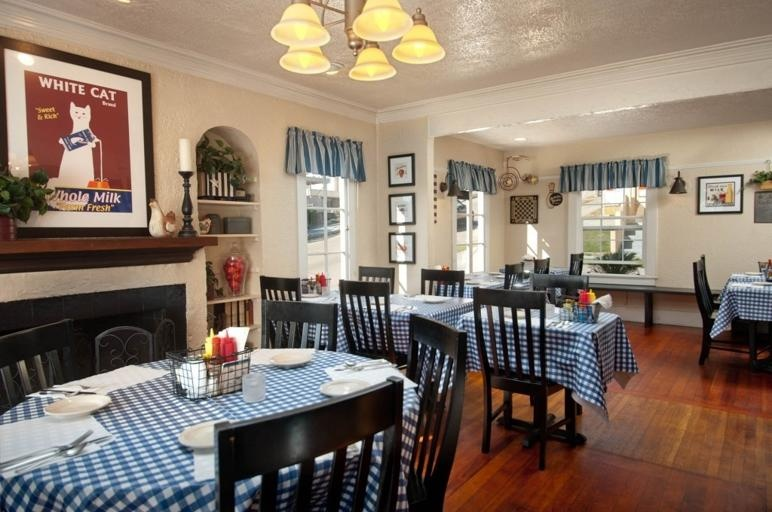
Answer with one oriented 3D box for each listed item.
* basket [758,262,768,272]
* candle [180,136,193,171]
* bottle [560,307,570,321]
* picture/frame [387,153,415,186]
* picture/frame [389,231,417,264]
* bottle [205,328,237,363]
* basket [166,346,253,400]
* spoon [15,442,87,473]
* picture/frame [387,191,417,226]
[{"bbox_3d":[4.618,0.129,6.318,0.117,0.135,0.103,2,7,25],"label":"basket"},{"bbox_3d":[-1.833,-0.906,4.692,0.105,0.296,0.127,-6,14,-20],"label":"candle"},{"bbox_3d":[1.361,0.443,3.912,0.083,0.082,0.080,-2,2,-21],"label":"bottle"},{"bbox_3d":[0.206,-1.104,6.627,0.458,0.444,0.035,3,5,40],"label":"picture/frame"},{"bbox_3d":[0.228,-0.115,6.673,0.424,0.429,0.032,2,3,38],"label":"picture/frame"},{"bbox_3d":[-0.891,0.477,2.777,0.140,0.181,0.163,2,3,30],"label":"bottle"},{"bbox_3d":[-0.957,0.613,2.780,0.245,0.188,0.368,-1,-1,40],"label":"basket"},{"bbox_3d":[-1.510,0.909,2.328,0.243,0.033,0.053,-12,25,-39],"label":"spoon"},{"bbox_3d":[0.220,-0.611,6.657,0.464,0.449,0.048,3,6,39],"label":"picture/frame"}]
